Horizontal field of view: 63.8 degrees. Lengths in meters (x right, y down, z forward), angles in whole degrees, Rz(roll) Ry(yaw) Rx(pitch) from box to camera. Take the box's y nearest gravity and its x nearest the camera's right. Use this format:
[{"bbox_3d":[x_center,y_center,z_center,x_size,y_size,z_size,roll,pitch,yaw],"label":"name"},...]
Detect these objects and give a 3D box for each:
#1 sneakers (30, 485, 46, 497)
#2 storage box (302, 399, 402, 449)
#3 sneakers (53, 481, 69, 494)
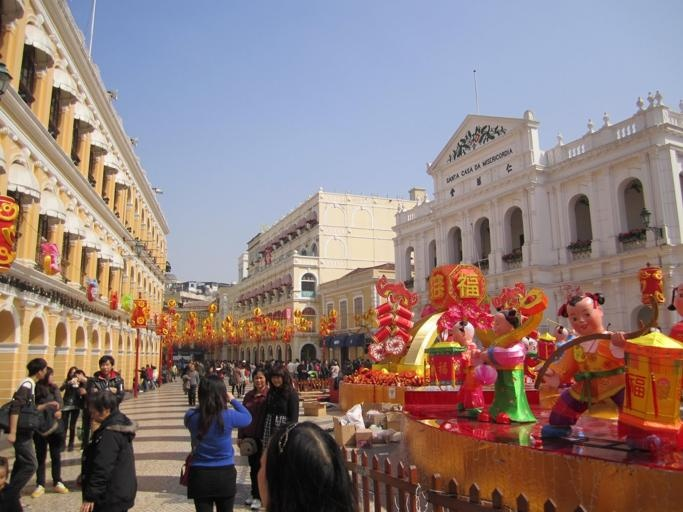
[{"bbox_3d":[-5.053,3.912,9.112,0.111,0.113,0.260,1,-7,-11],"label":"sneakers"},{"bbox_3d":[0.667,3.923,12.437,1.776,0.729,1.350,1,-6,-17],"label":"storage box"},{"bbox_3d":[-4.734,3.921,9.265,0.230,0.182,0.249,6,-17,-28],"label":"sneakers"}]
